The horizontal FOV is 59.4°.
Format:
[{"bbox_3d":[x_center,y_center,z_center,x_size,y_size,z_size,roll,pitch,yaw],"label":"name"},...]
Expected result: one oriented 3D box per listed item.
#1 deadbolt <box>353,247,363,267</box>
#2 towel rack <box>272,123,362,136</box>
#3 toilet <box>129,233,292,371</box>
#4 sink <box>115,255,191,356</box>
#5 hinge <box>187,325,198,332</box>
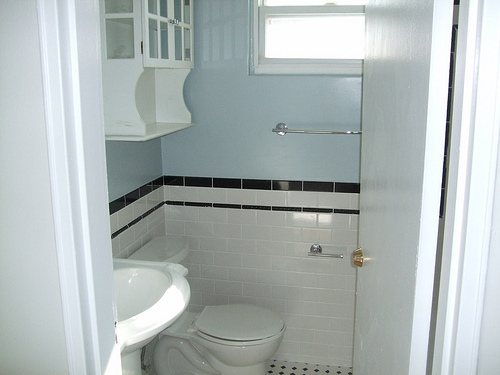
[{"bbox_3d":[0.304,0.196,1.232,0.014,0.031,0.039,4,-10,-11],"label":"deadbolt"},{"bbox_3d":[0.376,-0.326,2.528,0.503,0.076,0.086,3,12,8],"label":"towel rack"},{"bbox_3d":[-0.160,0.633,2.659,0.973,0.729,0.538,3,19,11],"label":"toilet"},{"bbox_3d":[-0.418,0.457,1.824,0.295,0.170,0.452,7,21,2],"label":"sink"},{"bbox_3d":[-0.323,0.780,2.422,0.041,0.028,0.025,5,0,-8],"label":"hinge"}]
